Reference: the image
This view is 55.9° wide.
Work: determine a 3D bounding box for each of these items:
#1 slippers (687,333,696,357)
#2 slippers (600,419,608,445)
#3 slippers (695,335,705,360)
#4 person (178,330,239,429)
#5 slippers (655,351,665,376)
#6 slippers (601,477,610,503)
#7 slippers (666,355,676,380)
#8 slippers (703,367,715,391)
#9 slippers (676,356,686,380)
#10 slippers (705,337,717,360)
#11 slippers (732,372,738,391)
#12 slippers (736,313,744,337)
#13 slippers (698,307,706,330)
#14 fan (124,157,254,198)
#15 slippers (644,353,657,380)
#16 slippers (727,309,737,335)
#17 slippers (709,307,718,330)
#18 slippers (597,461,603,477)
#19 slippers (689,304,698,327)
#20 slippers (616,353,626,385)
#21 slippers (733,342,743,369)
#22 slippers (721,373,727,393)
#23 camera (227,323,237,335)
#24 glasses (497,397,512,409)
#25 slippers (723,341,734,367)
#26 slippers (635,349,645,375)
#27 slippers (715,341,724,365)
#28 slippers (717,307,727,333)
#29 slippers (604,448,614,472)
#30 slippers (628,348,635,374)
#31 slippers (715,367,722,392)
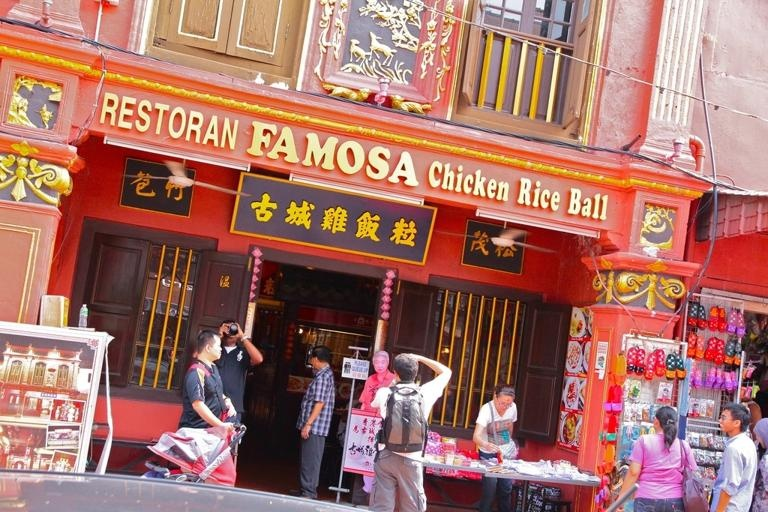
[{"bbox_3d":[3.841,1.135,9.169,0.138,0.366,0.099,-1,0,12],"label":"slippers"},{"bbox_3d":[2.562,2.066,8.555,0.042,0.304,0.134,7,-10,-6],"label":"slippers"},{"bbox_3d":[3.940,1.157,9.134,0.108,0.286,0.076,-1,0,6],"label":"slippers"},{"bbox_3d":[-1.774,1.279,7.441,0.537,1.018,0.638,8,-10,-12],"label":"person"},{"bbox_3d":[3.228,1.275,8.584,0.128,0.271,0.096,2,-1,5],"label":"slippers"},{"bbox_3d":[2.519,2.699,8.365,0.094,0.283,0.266,4,-10,13],"label":"slippers"},{"bbox_3d":[3.355,1.307,8.576,0.127,0.235,0.075,0,-8,5],"label":"slippers"},{"bbox_3d":[4.073,1.557,9.166,0.147,0.241,0.076,6,-3,10],"label":"slippers"},{"bbox_3d":[3.459,1.339,8.534,0.131,0.229,0.083,-4,-9,24],"label":"slippers"},{"bbox_3d":[4.107,1.195,9.200,0.131,0.290,0.088,3,-16,12],"label":"slippers"},{"bbox_3d":[4.393,1.605,9.192,0.075,0.183,0.046,4,-10,13],"label":"slippers"},{"bbox_3d":[4.566,0.894,9.383,0.122,0.319,0.086,0,-1,3],"label":"slippers"},{"bbox_3d":[4.010,0.798,9.221,0.143,0.284,0.085,-7,12,-29],"label":"slippers"},{"bbox_3d":[-2.452,-0.970,9.191,1.334,0.390,0.861,3,-10,18],"label":"fan"},{"bbox_3d":[3.108,1.305,8.577,0.106,0.297,0.115,2,-12,3],"label":"slippers"},{"bbox_3d":[4.433,0.857,9.335,0.106,0.323,0.086,2,-3,11],"label":"slippers"},{"bbox_3d":[4.163,0.799,9.266,0.105,0.296,0.088,0,6,16],"label":"slippers"},{"bbox_3d":[2.480,2.492,8.431,0.017,0.138,0.148,-1,6,-17],"label":"slippers"},{"bbox_3d":[3.876,0.760,9.205,0.138,0.252,0.082,2,15,1],"label":"slippers"},{"bbox_3d":[2.753,1.332,8.554,0.129,0.363,0.094,0,-11,32],"label":"slippers"},{"bbox_3d":[4.474,1.278,9.276,0.102,0.317,0.131,3,1,-3],"label":"slippers"},{"bbox_3d":[4.253,1.605,9.209,0.065,0.215,0.086,2,-20,9],"label":"slippers"},{"bbox_3d":[-1.875,0.908,8.886,0.094,0.127,0.128,5,-6,-14],"label":"camera"},{"bbox_3d":[1.407,1.753,8.631,0.140,0.106,0.179,9,18,-7],"label":"glasses"},{"bbox_3d":[4.363,1.250,9.268,0.146,0.290,0.086,2,-1,10],"label":"slippers"},{"bbox_3d":[2.969,1.266,8.605,0.100,0.305,0.121,2,-10,-9],"label":"slippers"},{"bbox_3d":[4.222,1.235,9.212,0.110,0.300,0.081,0,4,-4],"label":"slippers"},{"bbox_3d":[4.301,0.822,9.328,0.122,0.355,0.148,-2,4,4],"label":"slippers"},{"bbox_3d":[2.575,2.351,8.402,0.144,0.301,0.210,3,-10,19],"label":"slippers"},{"bbox_3d":[2.883,1.236,8.597,0.117,0.240,0.080,1,-4,1],"label":"slippers"},{"bbox_3d":[4.198,1.568,9.189,0.097,0.277,0.109,4,-6,1],"label":"slippers"}]
